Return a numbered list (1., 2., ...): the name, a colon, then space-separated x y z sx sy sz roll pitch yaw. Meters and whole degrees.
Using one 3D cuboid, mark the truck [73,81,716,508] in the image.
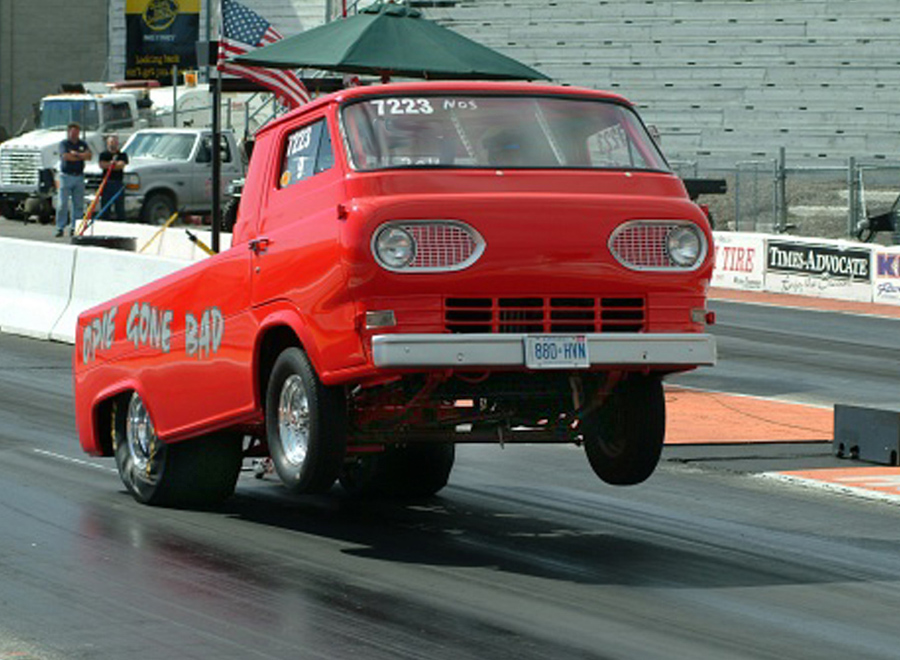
1. truck: -0.772 0.020 8.539 2.744 2.010 4.727 -1 -7 -33
